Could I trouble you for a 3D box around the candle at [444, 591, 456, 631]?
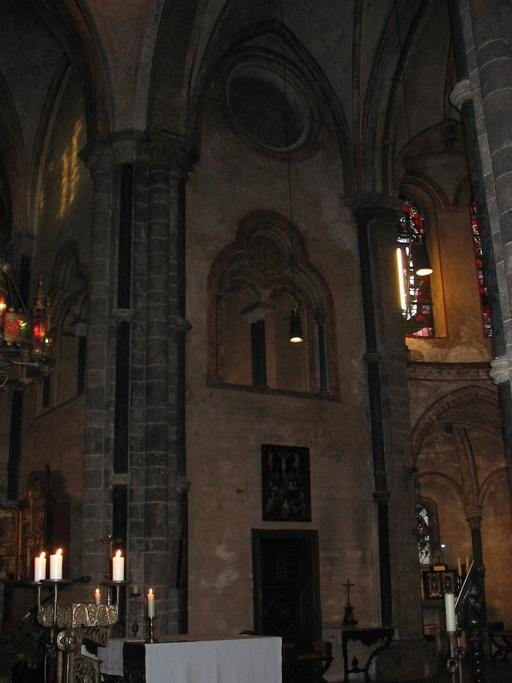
[{"bbox_3d":[0.949,1.327,3.798,0.044,0.180,0.113,-14,-22,25],"label":"candle"}]
